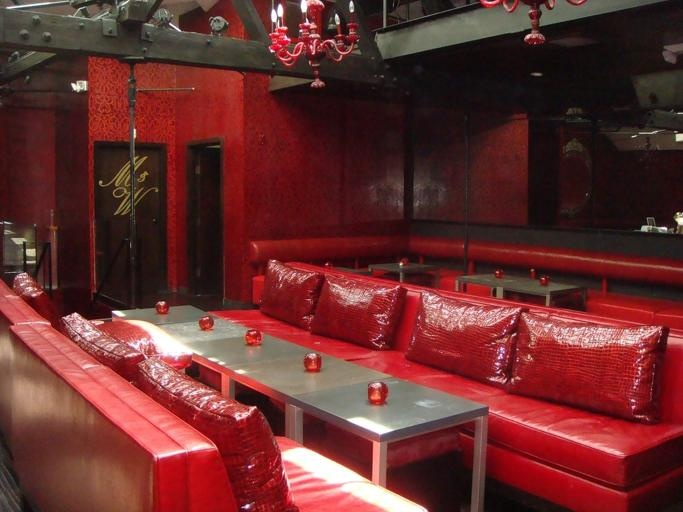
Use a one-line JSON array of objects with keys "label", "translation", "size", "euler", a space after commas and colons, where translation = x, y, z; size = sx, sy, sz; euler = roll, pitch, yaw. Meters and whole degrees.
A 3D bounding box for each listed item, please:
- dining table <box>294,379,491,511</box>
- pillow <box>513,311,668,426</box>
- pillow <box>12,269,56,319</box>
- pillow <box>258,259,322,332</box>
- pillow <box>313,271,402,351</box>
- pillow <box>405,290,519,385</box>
[{"label": "dining table", "translation": [0.246, 0.654, 2.660], "size": [0.734, 0.590, 0.744], "euler": [-2, 4, -35]}, {"label": "pillow", "translation": [1.319, 0.614, 3.002], "size": [0.277, 0.494, 0.825], "euler": [5, -1, -38]}, {"label": "pillow", "translation": [-2.138, 0.260, 3.690], "size": [0.112, 0.139, 0.462], "euler": [22, -22, 4]}, {"label": "pillow", "translation": [-0.457, 0.341, 4.745], "size": [0.258, 0.462, 0.710], "euler": [23, -8, -42]}, {"label": "pillow", "translation": [0.094, 0.430, 4.159], "size": [0.742, 0.482, 0.269], "euler": [7, 7, 37]}, {"label": "pillow", "translation": [0.758, 0.533, 3.508], "size": [0.747, 0.491, 0.263], "euler": [9, 6, 37]}]
